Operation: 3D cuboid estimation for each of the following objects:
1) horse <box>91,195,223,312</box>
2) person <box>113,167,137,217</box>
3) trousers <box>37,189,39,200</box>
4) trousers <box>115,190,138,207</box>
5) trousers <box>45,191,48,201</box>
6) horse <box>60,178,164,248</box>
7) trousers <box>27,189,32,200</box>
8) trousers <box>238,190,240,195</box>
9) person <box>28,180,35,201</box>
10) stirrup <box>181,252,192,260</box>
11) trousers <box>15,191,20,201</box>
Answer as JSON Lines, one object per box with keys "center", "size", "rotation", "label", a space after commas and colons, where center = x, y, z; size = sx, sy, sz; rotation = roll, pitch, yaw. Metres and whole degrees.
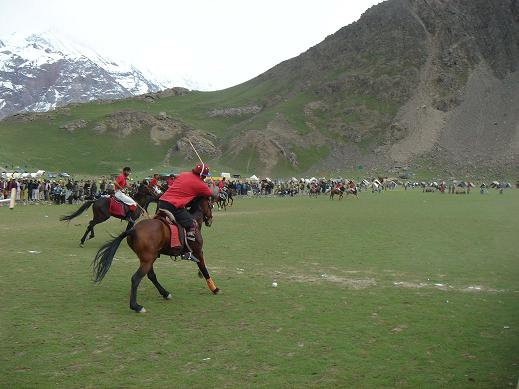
{"center": [-2.707, 1.398, 12.031], "size": [1.165, 2.508, 4.651], "rotation": [2, 4, 30], "label": "horse"}
{"center": [-5.864, -0.082, 19.495], "size": [1.256, 2.099, 1.060], "rotation": [7, 4, -27], "label": "person"}
{"center": [-24.014, 0.009, 49.256], "size": [0.142, 1.065, 0.791], "rotation": [5, -1, -25], "label": "trousers"}
{"center": [-5.621, 0.177, 18.948], "size": [0.826, 0.258, 0.550], "rotation": [25, -1, 8], "label": "trousers"}
{"center": [-23.613, 0.088, 50.307], "size": [0.326, 1.062, 1.980], "rotation": [5, -1, -24], "label": "trousers"}
{"center": [-6.301, 0.767, 19.390], "size": [4.939, 2.195, 0.914], "rotation": [-4, -1, 11], "label": "horse"}
{"center": [-24.302, -0.013, 48.136], "size": [0.376, 1.167, 0.808], "rotation": [5, -1, -25], "label": "trousers"}
{"center": [-3.084, -0.290, 70.139], "size": [0.258, 0.657, 0.454], "rotation": [5, 0, 1], "label": "trousers"}
{"center": [-24.172, -0.405, 48.065], "size": [0.589, 2.202, 1.155], "rotation": [5, -1, -25], "label": "person"}
{"center": [-1.901, 1.610, 12.123], "size": [0.280, 0.181, 0.056], "rotation": [-8, 0, -2], "label": "stirrup"}
{"center": [-25.546, 0.073, 48.019], "size": [0.377, 1.020, 2.408], "rotation": [5, -1, -28], "label": "trousers"}
